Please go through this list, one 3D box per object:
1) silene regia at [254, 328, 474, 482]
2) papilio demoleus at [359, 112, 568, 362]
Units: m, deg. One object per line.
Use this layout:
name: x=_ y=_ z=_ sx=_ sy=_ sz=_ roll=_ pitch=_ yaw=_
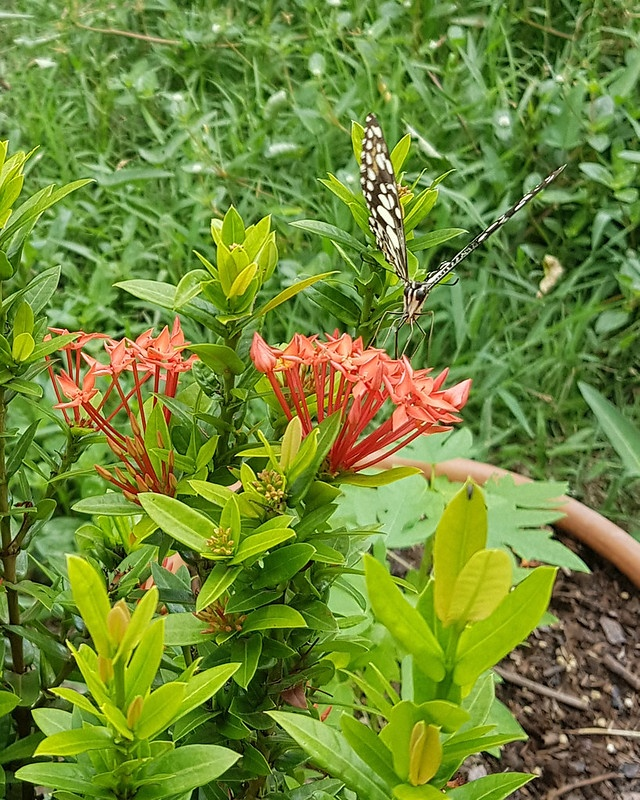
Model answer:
silene regia: x=0.031 y=-0.015 z=1.121 sx=0.216 sy=0.150 sz=0.216 roll=28 pitch=4 yaw=-32
papilio demoleus: x=0.163 y=-0.259 z=1.449 sx=0.272 sy=0.596 sz=0.244 roll=-19 pitch=30 yaw=-40
